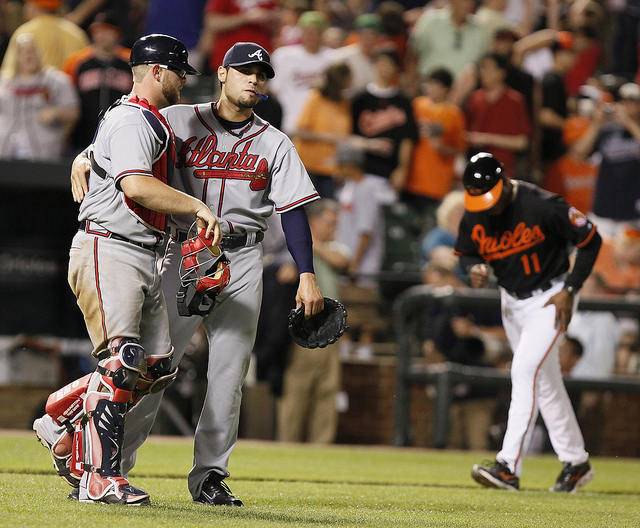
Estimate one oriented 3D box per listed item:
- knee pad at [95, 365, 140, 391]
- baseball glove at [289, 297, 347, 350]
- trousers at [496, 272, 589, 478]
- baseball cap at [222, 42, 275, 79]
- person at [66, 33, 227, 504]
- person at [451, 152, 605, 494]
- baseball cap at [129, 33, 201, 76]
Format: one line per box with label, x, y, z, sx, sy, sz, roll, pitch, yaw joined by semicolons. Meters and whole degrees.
knee pad;-1.159;0.645;6.815;0.192;0.099;0.144;22;1;9
baseball glove;-0.015;0.353;7.124;0.336;0.316;0.227;5;5;-5
trousers;1.608;0.773;8.558;0.648;1.464;0.448;5;5;-13
baseball cap;-0.426;-1.246;7.165;0.312;0.200;0.186;5;5;-7
person;-1.089;0.019;6.854;0.699;2.713;0.635;5;5;-12
person;1.483;0.432;8.478;1.159;2.374;0.468;7;5;12
baseball cap;-0.955;-1.240;7.001;0.321;0.152;0.234;1;6;-4
